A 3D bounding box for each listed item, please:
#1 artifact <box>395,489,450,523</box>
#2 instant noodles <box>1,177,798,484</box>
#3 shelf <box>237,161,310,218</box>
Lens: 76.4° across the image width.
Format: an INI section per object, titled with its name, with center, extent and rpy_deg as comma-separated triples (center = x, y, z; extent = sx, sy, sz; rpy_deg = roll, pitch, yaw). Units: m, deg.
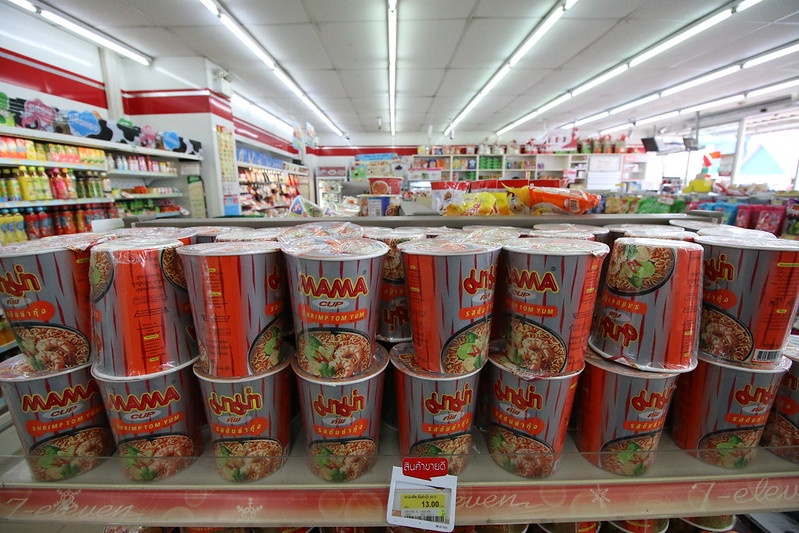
[artifact]
center = 0.109, 1.043, 2.238
extent = 0.330, 0.183, 0.071
rpy_deg = -15, -33, 32
[instant noodles]
center = -0.006, 0.344, 2.357
extent = 3.750, 1.291, 0.752
rpy_deg = 1, -10, 2
[shelf]
center = -2.348, -1.435, 9.152
extent = 0.621, 0.846, 2.763
rpy_deg = -2, 9, 4
